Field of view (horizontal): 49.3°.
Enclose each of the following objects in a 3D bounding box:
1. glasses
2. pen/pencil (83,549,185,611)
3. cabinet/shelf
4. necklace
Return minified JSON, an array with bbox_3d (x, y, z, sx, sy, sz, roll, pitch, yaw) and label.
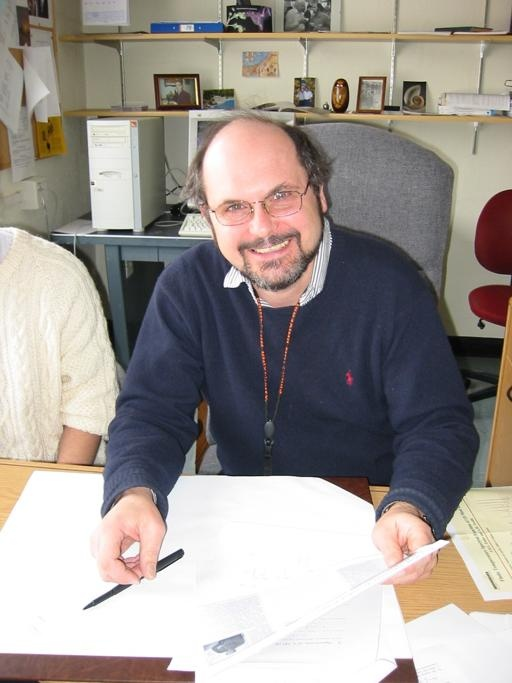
[{"bbox_3d":[0.007,-0.223,0.927,0.148,0.067,0.045,3,22,1],"label":"glasses"},{"bbox_3d":[-0.136,0.267,0.618,0.012,0.012,0.115,9,21,38],"label":"pen/pencil"},{"bbox_3d":[0.158,-1.250,2.649,2.040,0.417,0.400,4,22,3],"label":"cabinet/shelf"},{"bbox_3d":[0.021,0.063,0.945,0.082,0.256,0.012,3,-1,11],"label":"necklace"}]
